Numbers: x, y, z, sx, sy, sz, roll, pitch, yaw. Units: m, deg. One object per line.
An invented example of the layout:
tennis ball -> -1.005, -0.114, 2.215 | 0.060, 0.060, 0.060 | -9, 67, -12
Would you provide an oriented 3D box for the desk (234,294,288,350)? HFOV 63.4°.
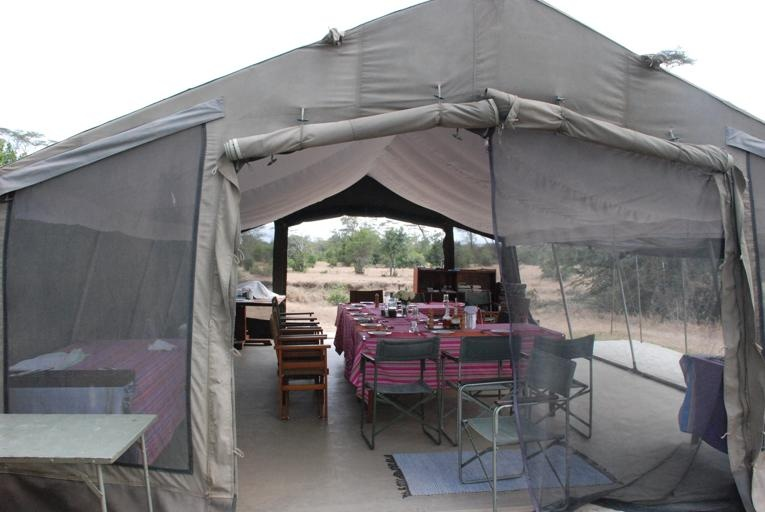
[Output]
desk -> -1.846, 0.965, 9.293 | 0.977, 0.649, 1.027 | -1, 1, 4
